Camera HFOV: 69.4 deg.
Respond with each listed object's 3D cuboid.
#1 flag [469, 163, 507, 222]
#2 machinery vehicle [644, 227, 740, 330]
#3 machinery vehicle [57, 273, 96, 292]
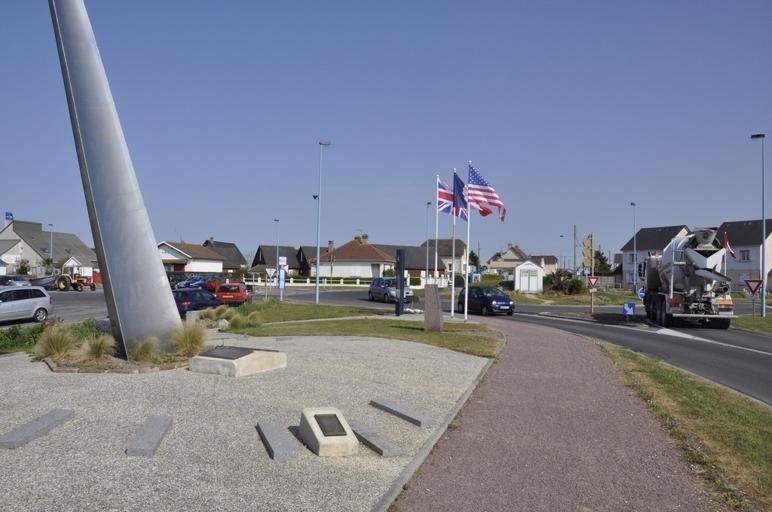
[{"bbox_3d":[4.416,-3.018,25.751,0.704,2.037,1.560,-6,13,-45],"label":"flag"},{"bbox_3d":[16.764,1.304,31.626,3.249,4.951,9.755,3,-4,18],"label":"machinery vehicle"},{"bbox_3d":[-30.547,2.597,55.022,1.532,1.508,2.906,-2,-6,42],"label":"machinery vehicle"}]
